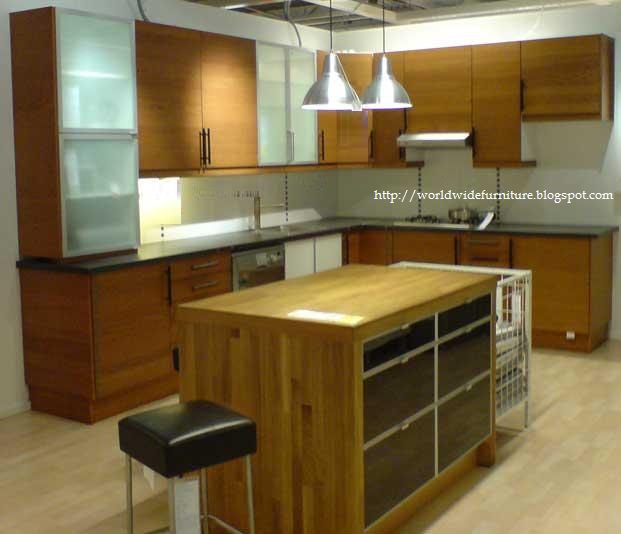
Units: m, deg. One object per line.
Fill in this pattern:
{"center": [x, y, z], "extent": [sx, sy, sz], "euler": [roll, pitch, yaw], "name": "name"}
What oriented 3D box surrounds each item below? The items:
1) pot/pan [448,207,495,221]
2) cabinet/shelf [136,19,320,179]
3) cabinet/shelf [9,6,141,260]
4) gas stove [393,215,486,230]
{"center": [1.605, -0.543, 5.915], "extent": [0.275, 0.103, 0.187], "euler": [5, 7, 31], "name": "pot/pan"}
{"center": [-0.721, -1.370, 4.752], "extent": [0.597, 1.517, 1.616], "euler": [1, 3, 43], "name": "cabinet/shelf"}
{"center": [-1.535, -0.845, 3.791], "extent": [0.798, 1.563, 0.402], "euler": [-4, 7, -26], "name": "cabinet/shelf"}
{"center": [1.319, -0.448, 5.847], "extent": [0.975, 0.107, 0.686], "euler": [2, 8, 24], "name": "gas stove"}
